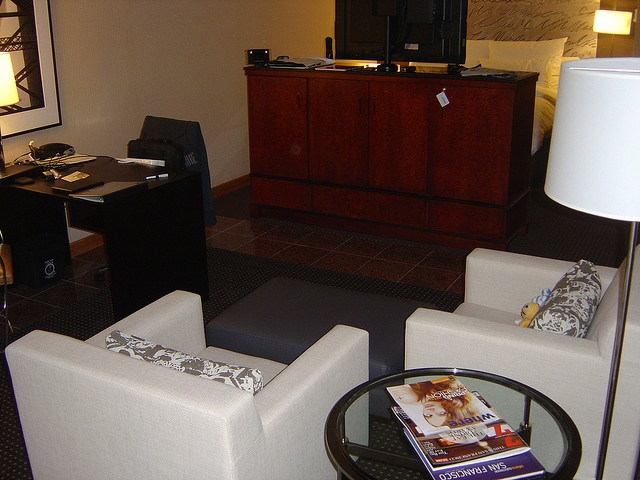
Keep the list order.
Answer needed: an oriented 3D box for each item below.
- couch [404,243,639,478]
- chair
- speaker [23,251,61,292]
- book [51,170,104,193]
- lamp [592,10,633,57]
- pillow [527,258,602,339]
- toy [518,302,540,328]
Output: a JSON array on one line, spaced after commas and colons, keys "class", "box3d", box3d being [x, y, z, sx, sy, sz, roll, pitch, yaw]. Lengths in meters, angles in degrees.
[{"class": "couch", "box3d": [1.026, 0.555, 2.653, 1.045, 1.042, 1.077, 12, 35, 22]}, {"class": "chair", "box3d": [-1.293, -0.533, 4.228, 0.572, 0.921, 0.541, 10, 26, 14]}, {"class": "speaker", "box3d": [-2.281, 0.250, 4.038, 0.146, 0.255, 0.257, 7, 21, 21]}, {"class": "book", "box3d": [-1.738, -0.402, 3.503, 0.225, 0.054, 0.223, 10, 22, 22]}, {"class": "lamp", "box3d": [3.905, -2.788, 6.557, 0.396, 0.665, 0.423, 19, 31, 37]}, {"class": "pillow", "box3d": [1.165, 0.307, 2.284, 0.248, 0.157, 0.477, 13, 52, 43]}, {"class": "toy", "box3d": [1.005, 0.362, 2.369, 0.049, 0.069, 0.108, 40, 48, 1]}]
